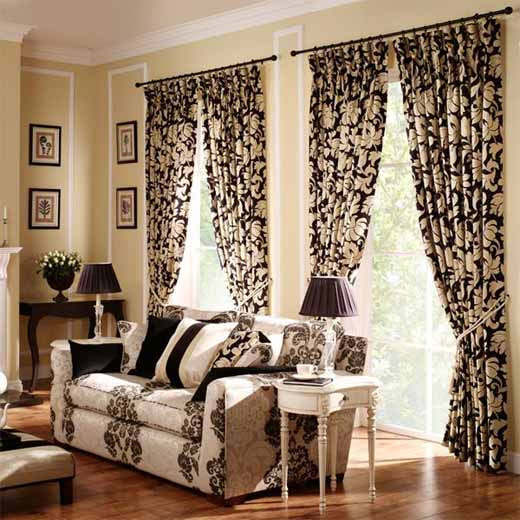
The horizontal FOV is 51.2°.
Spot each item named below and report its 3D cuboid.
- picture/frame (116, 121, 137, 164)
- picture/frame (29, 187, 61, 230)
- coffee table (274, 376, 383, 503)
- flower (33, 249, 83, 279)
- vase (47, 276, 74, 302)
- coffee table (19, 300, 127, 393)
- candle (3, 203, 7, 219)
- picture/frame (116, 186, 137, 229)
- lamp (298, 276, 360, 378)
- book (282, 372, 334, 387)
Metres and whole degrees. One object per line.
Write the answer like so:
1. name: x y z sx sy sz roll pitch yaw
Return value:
1. picture/frame: -1.457 -1.300 5.970 0.036 0.546 0.427 -4 7 -42
2. picture/frame: -2.420 -0.577 6.045 0.429 0.650 0.061 -1 3 -38
3. coffee table: 0.326 0.874 2.651 0.547 0.643 0.401 -1 0 -42
4. flower: -2.182 0.035 5.784 0.339 0.223 0.353 1 1 31
5. vase: -2.146 0.326 5.793 0.247 0.306 0.259 0 -7 6
6. coffee table: -1.684 0.744 4.773 0.900 0.846 0.349 -2 6 -44
7. candle: -2.429 -0.456 5.163 0.032 0.131 0.031 0 0 -27
8. picture/frame: -1.486 -0.583 6.022 0.019 0.429 0.336 5 7 28
9. lamp: 0.370 0.323 2.826 0.272 0.466 0.354 0 0 -25
10. book: 0.222 0.563 2.543 0.226 0.024 0.214 0 0 28
